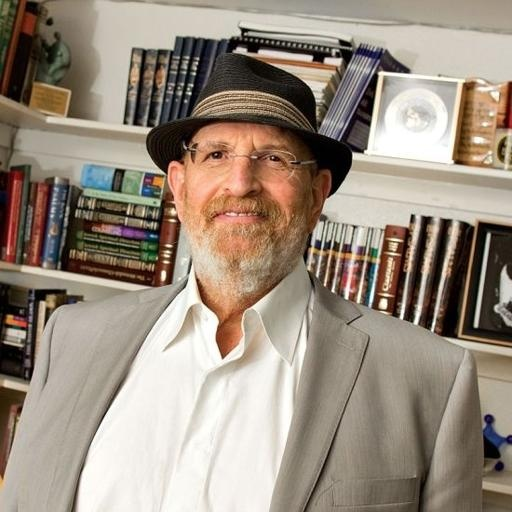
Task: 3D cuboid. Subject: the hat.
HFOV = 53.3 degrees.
[{"bbox_3d":[0.009,-0.327,1.123,0.386,0.173,0.337,13,-7,-28],"label":"hat"}]
